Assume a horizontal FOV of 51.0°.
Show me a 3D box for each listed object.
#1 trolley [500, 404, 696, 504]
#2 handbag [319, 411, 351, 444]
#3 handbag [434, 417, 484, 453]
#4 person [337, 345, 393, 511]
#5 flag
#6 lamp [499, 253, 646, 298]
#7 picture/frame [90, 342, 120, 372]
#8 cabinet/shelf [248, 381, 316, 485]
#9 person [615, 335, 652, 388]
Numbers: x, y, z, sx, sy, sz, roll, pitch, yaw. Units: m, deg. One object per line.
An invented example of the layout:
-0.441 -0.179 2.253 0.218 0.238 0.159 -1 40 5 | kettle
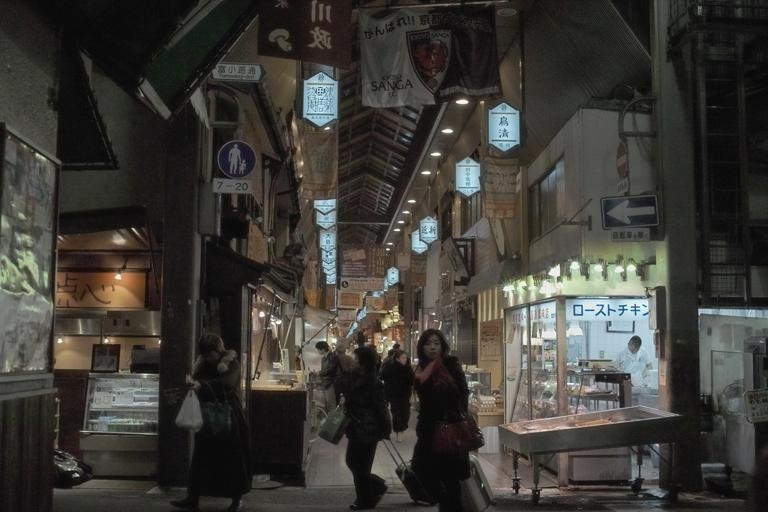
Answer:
3.000 2.693 11.874 2.362 1.293 1.411 -6 -19 -7 | trolley
-0.672 2.280 10.660 0.359 0.438 0.376 5 -11 -19 | handbag
0.806 1.996 8.901 0.491 0.496 0.227 0 -17 -11 | handbag
-0.250 2.276 10.908 0.717 2.016 0.754 0 1 -1 | person
0.731 -3.329 12.990 2.640 2.007 0.227 -1 -16 -9 | flag
3.142 0.430 13.924 1.176 0.723 3.338 5 -12 -21 | lamp
-4.393 1.621 12.723 0.476 0.522 0.043 -2 -28 -6 | picture/frame
-1.635 2.826 13.073 1.124 1.351 0.989 1 3 -4 | cabinet/shelf
4.500 1.914 14.473 0.690 0.952 0.262 5 -11 -21 | person
